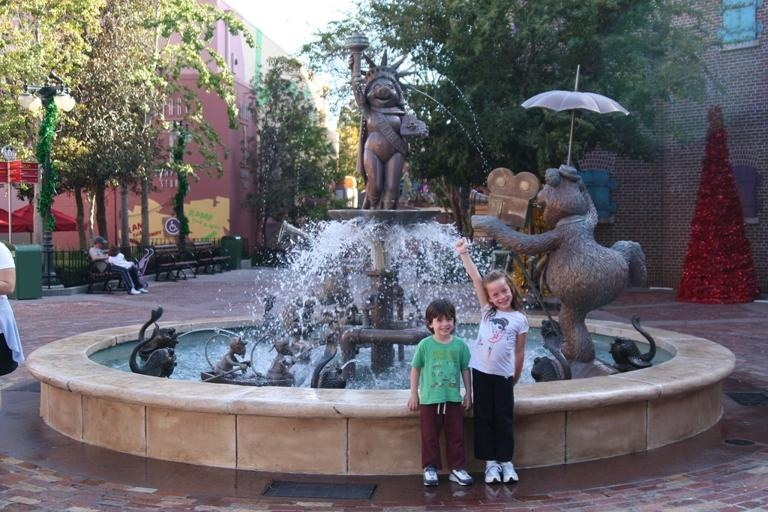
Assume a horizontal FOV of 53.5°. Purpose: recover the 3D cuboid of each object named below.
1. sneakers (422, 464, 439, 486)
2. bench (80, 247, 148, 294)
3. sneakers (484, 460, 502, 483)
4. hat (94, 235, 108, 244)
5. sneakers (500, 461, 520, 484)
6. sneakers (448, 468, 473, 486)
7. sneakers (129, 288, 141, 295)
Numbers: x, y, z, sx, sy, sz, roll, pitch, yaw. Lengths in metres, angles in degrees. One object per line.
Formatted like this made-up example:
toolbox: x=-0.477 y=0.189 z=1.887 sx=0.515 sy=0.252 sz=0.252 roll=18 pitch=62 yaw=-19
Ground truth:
sneakers: x=0.529 y=2.488 z=8.699 sx=0.183 sy=0.227 sz=0.180 roll=-3 pitch=3 yaw=2
bench: x=-7.712 y=0.215 z=22.094 sx=1.424 sy=1.863 sz=0.813 roll=-5 pitch=3 yaw=5
sneakers: x=1.240 y=2.469 z=8.711 sx=0.197 sy=0.233 sz=0.118 roll=-2 pitch=3 yaw=13
hat: x=-8.299 y=-0.478 z=22.335 sx=0.372 sy=0.216 sz=0.276 roll=-1 pitch=5 yaw=-22
sneakers: x=1.430 y=2.477 z=8.708 sx=0.124 sy=0.120 sz=0.287 roll=-4 pitch=-8 yaw=-3
sneakers: x=0.874 y=2.526 z=8.695 sx=0.124 sy=0.132 sz=0.272 roll=2 pitch=-6 yaw=-39
sneakers: x=-7.102 y=1.013 z=21.662 sx=0.300 sy=0.130 sz=0.161 roll=-2 pitch=0 yaw=44
